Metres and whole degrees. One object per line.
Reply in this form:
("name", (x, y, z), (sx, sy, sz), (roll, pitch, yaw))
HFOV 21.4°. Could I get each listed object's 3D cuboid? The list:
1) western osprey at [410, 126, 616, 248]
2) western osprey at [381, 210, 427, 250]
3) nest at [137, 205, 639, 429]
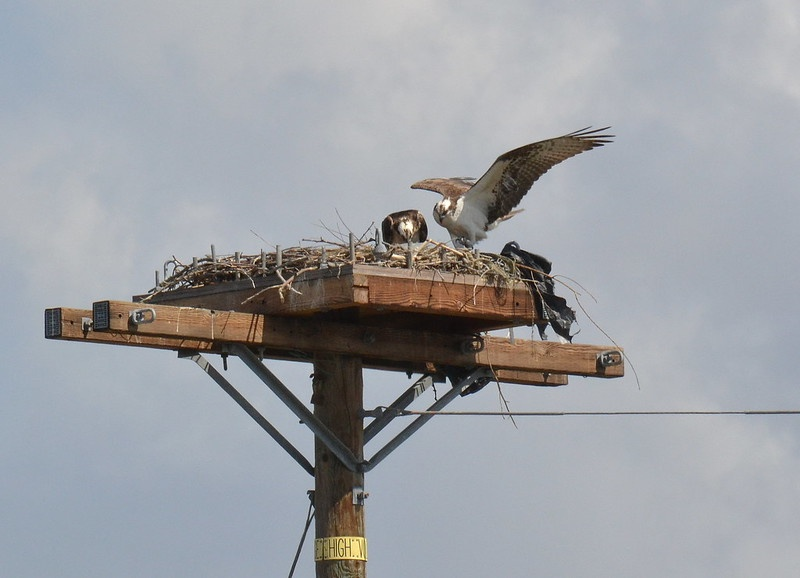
("western osprey", (0.831, -0.835, 17.269), (1.929, 1.193, 1.191), (4, -11, -43))
("western osprey", (0.055, -0.531, 19.126), (0.393, 0.561, 0.439), (-6, -81, -5))
("nest", (-0.203, 0.010, 17.902), (3.476, 1.294, 1.191), (5, -60, -3))
